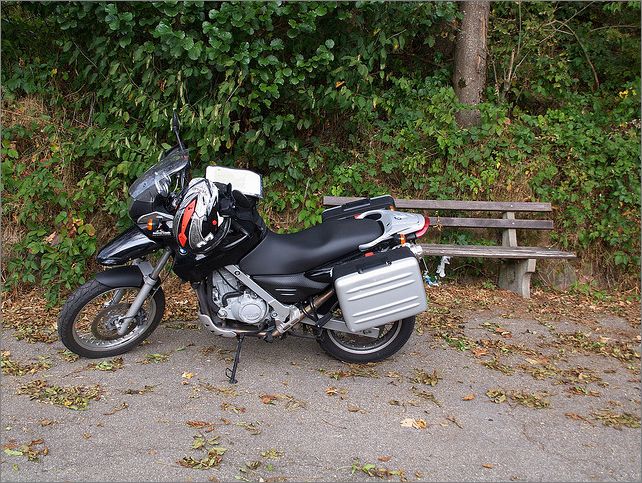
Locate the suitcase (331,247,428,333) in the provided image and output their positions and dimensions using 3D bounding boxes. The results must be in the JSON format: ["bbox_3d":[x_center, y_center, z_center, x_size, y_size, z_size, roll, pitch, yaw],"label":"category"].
[{"bbox_3d":[0.494,0.434,5.212,0.653,0.553,0.371,-14,18,4],"label":"suitcase"}]

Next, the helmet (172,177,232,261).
[{"bbox_3d":[-1.007,-0.187,5.124,0.491,0.664,0.440,12,-11,19],"label":"helmet"}]

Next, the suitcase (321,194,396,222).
[{"bbox_3d":[0.336,-0.345,5.770,0.494,0.124,0.324,-14,56,0],"label":"suitcase"}]
